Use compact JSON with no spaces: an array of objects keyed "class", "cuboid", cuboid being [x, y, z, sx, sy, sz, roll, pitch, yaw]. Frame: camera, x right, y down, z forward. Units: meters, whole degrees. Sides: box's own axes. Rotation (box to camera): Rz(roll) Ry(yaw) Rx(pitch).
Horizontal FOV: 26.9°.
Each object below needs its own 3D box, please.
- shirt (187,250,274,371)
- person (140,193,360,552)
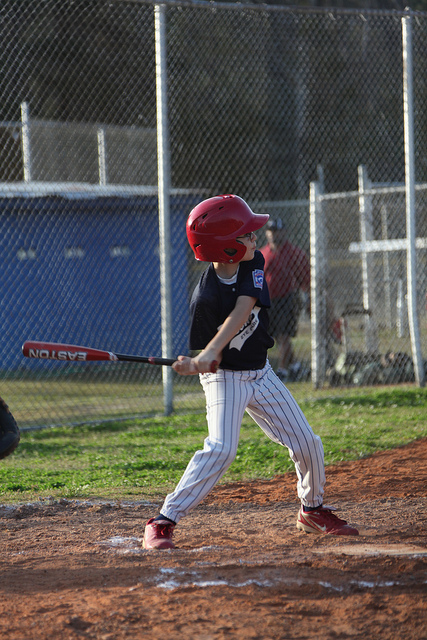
[{"class":"shirt","cuboid":[0.052,-0.025,3.459,0.356,0.472,0.270,-8,10,-15]},{"class":"person","cuboid":[0.106,0.203,3.402,0.824,1.352,0.311,-3,4,-25]}]
